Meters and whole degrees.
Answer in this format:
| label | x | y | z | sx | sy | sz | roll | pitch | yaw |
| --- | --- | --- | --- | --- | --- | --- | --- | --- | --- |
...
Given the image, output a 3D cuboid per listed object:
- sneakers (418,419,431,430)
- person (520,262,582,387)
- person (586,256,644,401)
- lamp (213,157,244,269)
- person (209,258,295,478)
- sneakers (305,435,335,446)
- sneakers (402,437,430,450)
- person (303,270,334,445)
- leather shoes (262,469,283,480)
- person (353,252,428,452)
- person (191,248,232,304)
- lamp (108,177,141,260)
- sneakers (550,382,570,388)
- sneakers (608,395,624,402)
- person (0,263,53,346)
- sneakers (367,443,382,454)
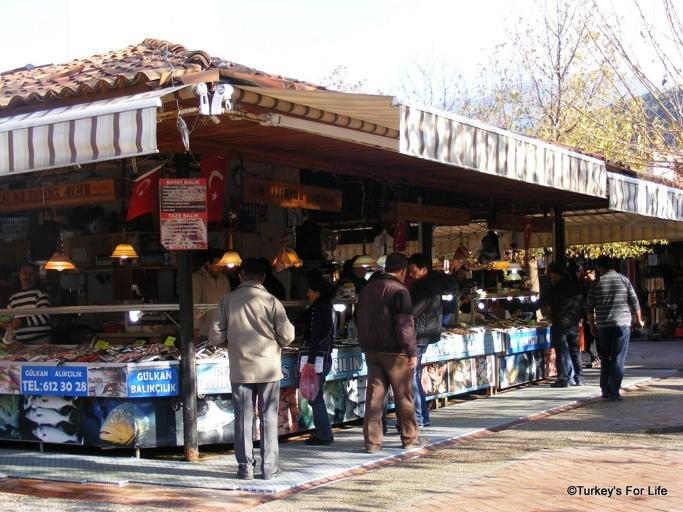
| label | x | y | z | sx | sy | sz | roll | pitch | yaw |
| --- | --- | --- | --- | --- | --- | --- | --- | --- | --- |
| sneakers | 1.069 | 2.143 | 10.713 | 0.068 | 0.085 | 0.204 | -6 | -15 | 24 |
| person | 3.587 | 1.116 | 13.549 | 0.618 | 2.001 | 0.673 | 0 | 2 | 32 |
| person | 3.971 | 1.054 | 12.177 | 0.762 | 2.073 | 0.474 | 0 | 2 | 26 |
| lamp | -1.406 | -0.532 | 10.156 | 0.480 | 1.338 | 0.319 | 2 | -1 | -23 |
| person | -0.920 | 1.168 | 8.828 | 0.847 | 2.256 | 0.476 | -2 | 2 | -9 |
| sneakers | -0.268 | 2.213 | 10.158 | 0.311 | 0.135 | 0.136 | 2 | -1 | 27 |
| sneakers | 0.871 | 2.155 | 9.775 | 0.337 | 0.139 | 0.120 | -2 | 1 | -38 |
| person | -0.251 | 1.226 | 10.010 | 0.348 | 2.069 | 0.550 | -2 | 2 | -3 |
| leather shoes | -0.709 | 2.257 | 8.750 | 0.254 | 0.082 | 0.121 | -3 | 3 | -42 |
| person | 0.538 | 1.128 | 9.688 | 0.701 | 2.222 | 0.559 | -1 | 2 | 4 |
| person | -1.755 | 0.286 | 11.460 | 0.328 | 0.919 | 0.714 | 1 | 4 | 32 |
| lamp | -3.636 | -0.587 | 14.234 | 0.500 | 1.239 | 0.499 | 6 | -4 | 36 |
| sneakers | 3.544 | 2.082 | 13.600 | 0.266 | 0.104 | 0.099 | -4 | -5 | 32 |
| sneakers | 4.017 | 2.060 | 12.201 | 0.081 | 0.092 | 0.225 | 0 | -1 | 32 |
| person | -4.334 | 0.658 | 11.481 | 0.654 | 1.028 | 1.111 | -2 | 2 | -19 |
| sneakers | 0.372 | 2.198 | 9.689 | 0.177 | 0.094 | 0.278 | -1 | 2 | 3 |
